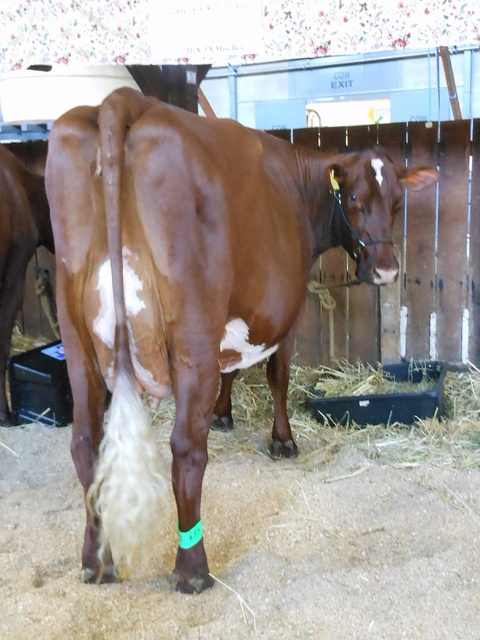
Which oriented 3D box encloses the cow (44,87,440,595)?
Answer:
[{"bbox_3d":[0.143,-0.001,2.858,0.638,1.495,1.752,3,10,37],"label":"cow"}]
